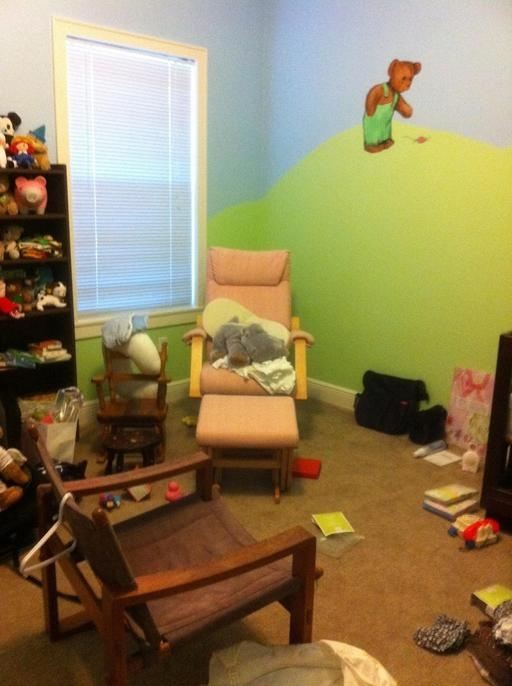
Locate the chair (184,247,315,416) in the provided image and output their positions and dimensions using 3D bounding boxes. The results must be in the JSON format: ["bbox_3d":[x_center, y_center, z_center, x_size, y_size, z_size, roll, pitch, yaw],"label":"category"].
[{"bbox_3d":[-0.026,-0.151,3.060,0.655,0.830,0.904,1,7,2],"label":"chair"}]

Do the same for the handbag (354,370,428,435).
[{"bbox_3d":[0.811,0.382,3.305,0.433,0.354,0.260,7,1,43],"label":"handbag"}]

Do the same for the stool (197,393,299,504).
[{"bbox_3d":[-0.052,0.459,2.492,0.438,0.350,0.433,1,23,-8],"label":"stool"}]

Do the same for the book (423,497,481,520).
[{"bbox_3d":[0.864,0.712,2.297,0.105,0.026,0.106,-12,14,-40],"label":"book"}]

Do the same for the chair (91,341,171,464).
[{"bbox_3d":[-0.644,0.289,2.791,0.355,0.601,0.493,2,6,3],"label":"chair"}]

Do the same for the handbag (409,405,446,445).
[{"bbox_3d":[1.016,0.481,3.083,0.215,0.198,0.120,-3,12,-22],"label":"handbag"}]

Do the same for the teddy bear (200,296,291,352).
[{"bbox_3d":[-0.055,-0.098,3.023,0.457,0.256,0.114,27,-18,-7],"label":"teddy bear"}]

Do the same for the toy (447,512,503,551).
[{"bbox_3d":[0.868,0.734,2.099,0.143,0.058,0.119,-11,16,-30],"label":"toy"}]

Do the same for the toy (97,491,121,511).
[{"bbox_3d":[-0.629,0.683,2.283,0.075,0.047,0.108,2,11,-9],"label":"toy"}]

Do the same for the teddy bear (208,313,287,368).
[{"bbox_3d":[-0.054,0.013,2.797,0.376,0.184,0.288,9,14,33],"label":"teddy bear"}]

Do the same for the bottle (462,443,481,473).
[{"bbox_3d":[1.137,0.608,2.785,0.076,0.123,0.061,12,21,38],"label":"bottle"}]

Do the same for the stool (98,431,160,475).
[{"bbox_3d":[-0.596,0.498,2.541,0.228,0.190,0.191,1,7,-9],"label":"stool"}]
